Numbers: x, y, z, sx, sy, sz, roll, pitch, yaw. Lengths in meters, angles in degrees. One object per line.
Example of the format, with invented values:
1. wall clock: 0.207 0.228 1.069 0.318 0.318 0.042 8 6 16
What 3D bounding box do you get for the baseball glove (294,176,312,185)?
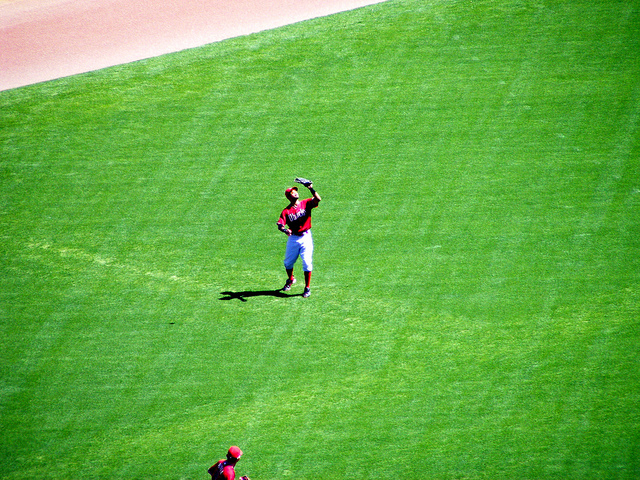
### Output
1. baseball glove: -0.408 -1.256 30.713 0.304 0.061 0.207 15 13 35
